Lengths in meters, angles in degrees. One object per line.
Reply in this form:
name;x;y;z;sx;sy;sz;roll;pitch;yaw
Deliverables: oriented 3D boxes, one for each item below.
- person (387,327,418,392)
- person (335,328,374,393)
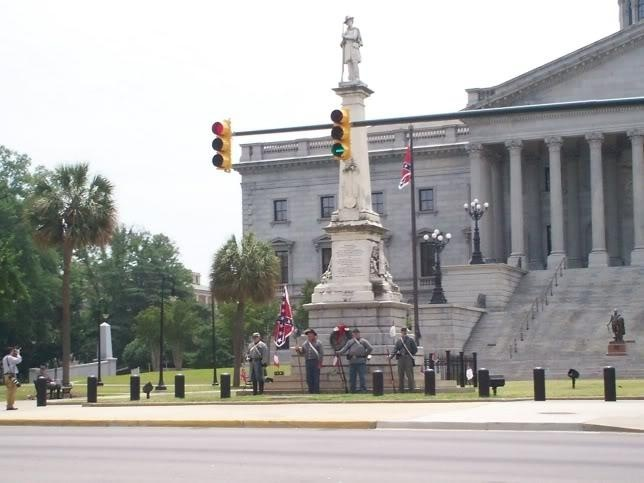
person;3.047;4.260;56.294;0.857;2.324;0.779;-1;1;-11
person;1.323;4.275;56.317;0.955;2.411;1.096;0;-3;7
